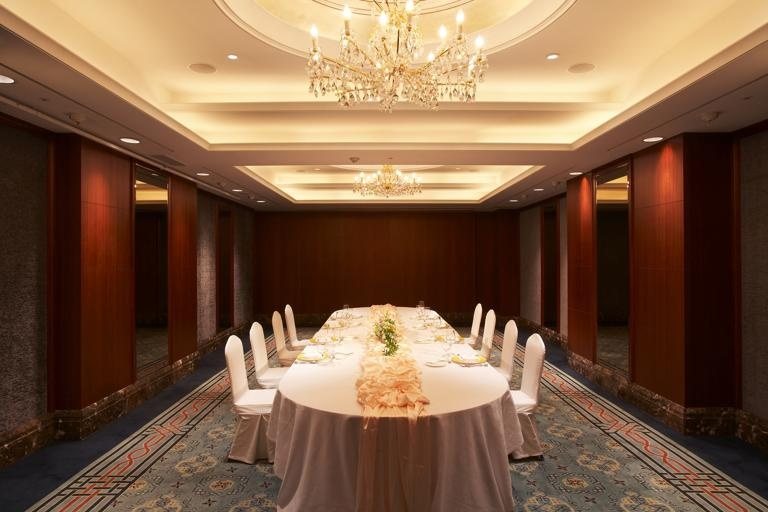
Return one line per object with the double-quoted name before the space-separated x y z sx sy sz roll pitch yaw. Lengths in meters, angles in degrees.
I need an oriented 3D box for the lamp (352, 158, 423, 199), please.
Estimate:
"lamp" 0.061 -1.418 9.331 0.932 0.561 0.956 0 -5 -5
